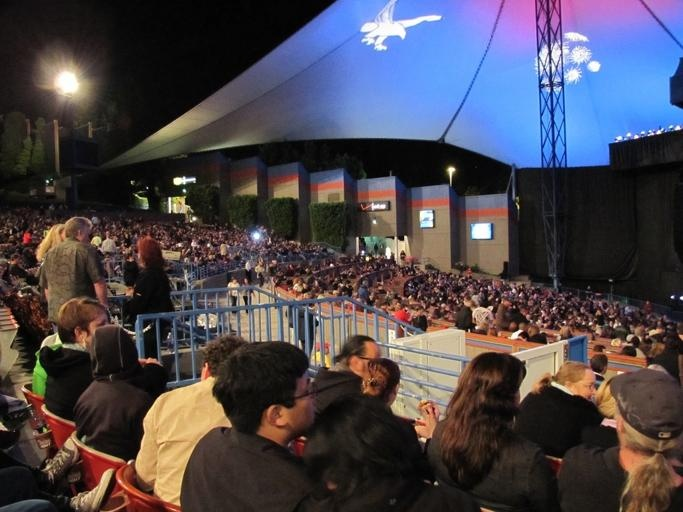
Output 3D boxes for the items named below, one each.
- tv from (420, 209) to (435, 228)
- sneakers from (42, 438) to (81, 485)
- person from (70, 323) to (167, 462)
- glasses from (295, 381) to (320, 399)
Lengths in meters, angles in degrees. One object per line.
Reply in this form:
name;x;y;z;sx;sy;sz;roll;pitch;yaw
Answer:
tv;6.360;-2.758;39.398;0.410;1.353;1.231;5;-6;-38
sneakers;-2.243;1.638;4.221;0.120;0.384;0.146;28;16;18
person;-1.815;1.111;4.195;0.493;1.289;0.686;9;32;-3
glasses;-0.207;0.774;3.033;0.094;0.032;0.095;-12;0;-10
